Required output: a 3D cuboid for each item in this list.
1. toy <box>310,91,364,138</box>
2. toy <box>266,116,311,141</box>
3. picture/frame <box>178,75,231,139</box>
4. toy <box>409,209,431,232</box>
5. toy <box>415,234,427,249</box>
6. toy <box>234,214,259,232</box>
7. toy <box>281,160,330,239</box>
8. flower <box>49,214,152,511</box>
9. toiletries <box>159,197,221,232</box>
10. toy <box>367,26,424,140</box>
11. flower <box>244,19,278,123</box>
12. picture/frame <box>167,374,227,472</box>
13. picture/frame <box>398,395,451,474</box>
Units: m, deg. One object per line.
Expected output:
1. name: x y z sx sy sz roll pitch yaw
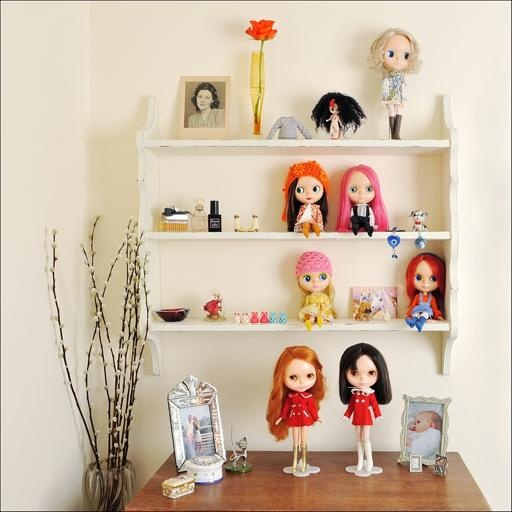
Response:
1. toy: 0.342 -0.584 2.461 0.175 0.225 0.098 1 -1 3
2. toy: 0.142 -0.535 2.452 0.170 0.116 0.193 1 6 7
3. picture/frame: -0.213 -0.631 2.484 0.203 0.290 0.019 -2 46 -11
4. toy: 0.665 -0.145 2.408 0.062 0.091 0.057 -10 -27 34
5. toy: 0.645 -0.061 2.329 0.033 0.052 0.057 3 7 27
6. toy: -0.035 -0.134 2.449 0.066 0.069 0.099 0 6 5
7. toy: 0.205 -0.237 2.399 0.191 0.297 0.225 0 6 0
8. flower: -0.632 0.442 2.428 0.391 1.199 0.395 -2 6 -22
9. toiletries: -0.248 -0.172 2.488 0.296 0.221 0.119 0 0 -7
10. toy: 0.568 -0.706 2.439 0.203 0.447 0.127 1 6 11
11. flower: 0.024 -0.785 2.491 0.139 0.463 0.189 0 6 0
12. picture/frame: -0.229 0.651 2.285 0.190 0.372 0.006 1 -39 -19
13. picture/frame: 0.650 0.674 2.296 0.183 0.017 0.297 -3 43 24
